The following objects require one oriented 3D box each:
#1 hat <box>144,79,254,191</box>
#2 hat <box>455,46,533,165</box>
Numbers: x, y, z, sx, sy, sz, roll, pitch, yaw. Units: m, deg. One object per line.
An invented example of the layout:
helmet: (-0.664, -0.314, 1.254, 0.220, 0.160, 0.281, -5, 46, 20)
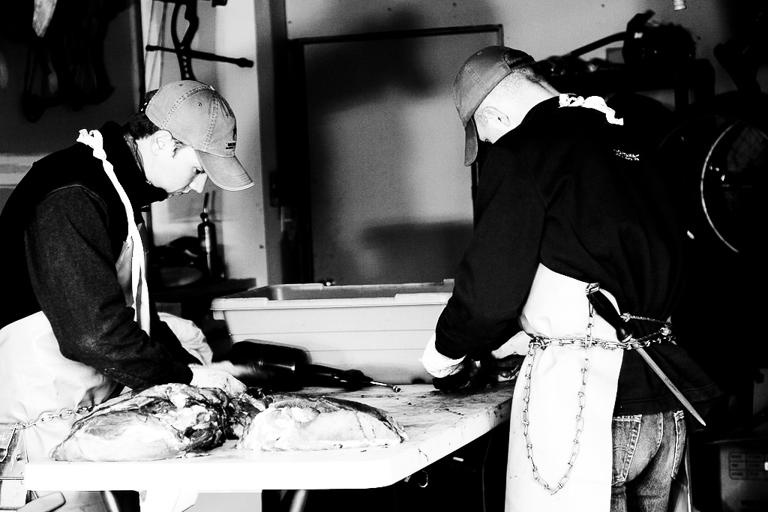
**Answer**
hat: (-0.649, -0.466, 3.120, 0.477, 0.257, 0.305, 39, 17, -6)
hat: (0.356, -0.575, 3.037, 0.233, 0.411, 0.268, 36, 26, 8)
